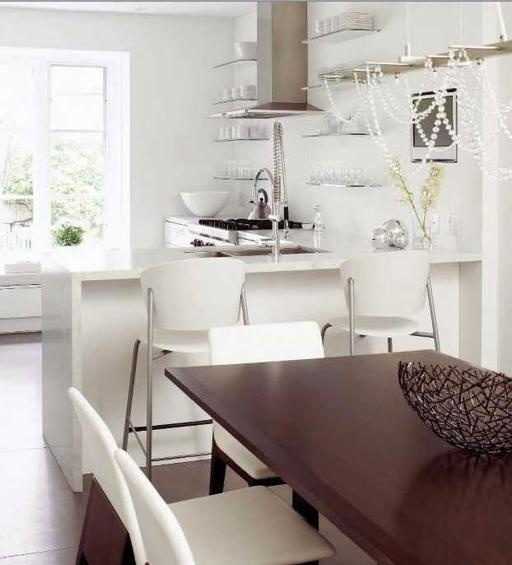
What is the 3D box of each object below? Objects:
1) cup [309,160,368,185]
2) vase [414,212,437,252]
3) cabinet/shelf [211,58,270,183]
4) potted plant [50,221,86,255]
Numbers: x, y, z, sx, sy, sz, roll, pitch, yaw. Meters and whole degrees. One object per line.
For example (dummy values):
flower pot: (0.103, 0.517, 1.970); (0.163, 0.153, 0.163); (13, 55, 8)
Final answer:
cup: (0.705, -0.942, 4.519); (0.243, 0.155, 0.388); (0, 4, -14)
vase: (1.183, -0.345, 3.621); (0.135, 0.264, 0.151); (2, -9, 11)
cabinet/shelf: (-0.180, -1.967, 6.099); (0.457, 1.948, 1.736); (-1, 7, -10)
potted plant: (-2.415, -0.618, 6.628); (0.415, 0.259, 0.124); (-5, 3, -29)
